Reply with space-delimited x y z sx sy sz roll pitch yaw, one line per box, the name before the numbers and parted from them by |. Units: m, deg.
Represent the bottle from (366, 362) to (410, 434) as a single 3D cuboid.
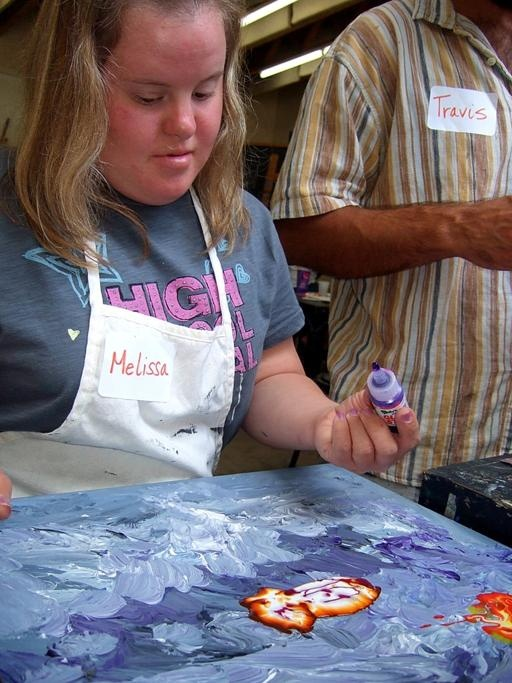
bottle | 0.184 0.079 0.887 0.058 0.110 0.110 10 10 12
